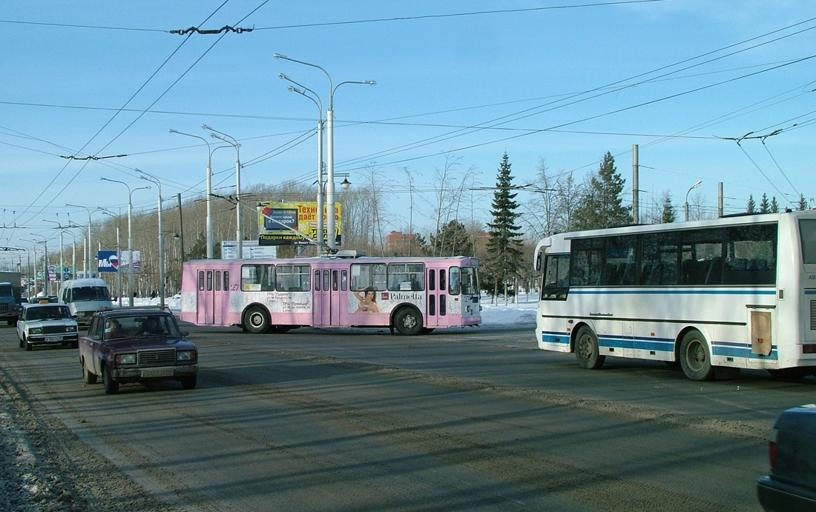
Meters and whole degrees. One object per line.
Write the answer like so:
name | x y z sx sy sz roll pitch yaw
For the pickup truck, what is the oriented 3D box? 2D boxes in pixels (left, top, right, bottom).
pickup truck | -7.268 2.326 24.658 2.207 1.726 4.292 -2 2 -30

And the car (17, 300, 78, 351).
car | -14.064 2.743 36.260 2.084 1.807 4.199 1 -2 -28

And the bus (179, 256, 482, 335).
bus | -3.382 1.677 39.634 12.778 3.525 1.008 1 6 17
